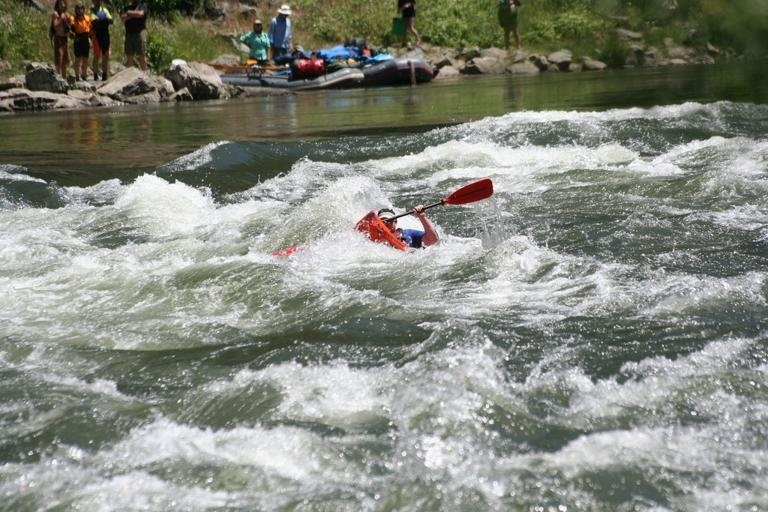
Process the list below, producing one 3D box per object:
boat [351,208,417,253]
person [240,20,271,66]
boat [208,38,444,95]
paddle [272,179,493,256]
[{"bbox_3d":[-0.001,-0.313,11.314,0.601,0.172,0.404,28,25,9],"label":"boat"},{"bbox_3d":[-3.605,-5.935,26.242,0.727,1.145,1.140,-6,12,-3],"label":"person"},{"bbox_3d":[-1.366,-5.108,26.696,4.883,0.718,2.237,-5,5,-35],"label":"boat"},{"bbox_3d":[-0.017,-0.455,12.035,3.757,0.322,0.215,-14,-8,-1],"label":"paddle"}]
